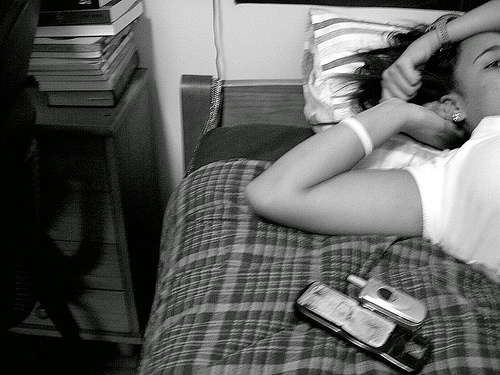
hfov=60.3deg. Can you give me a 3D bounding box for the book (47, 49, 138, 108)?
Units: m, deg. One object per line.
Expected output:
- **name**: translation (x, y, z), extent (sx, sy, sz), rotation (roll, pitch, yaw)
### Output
- **book**: translation (-0.466, -0.375, 1.473), extent (0.254, 0.082, 0.371), rotation (14, 24, 14)

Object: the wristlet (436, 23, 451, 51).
- **wristlet**: translation (0.550, -0.432, 1.240), extent (0.039, 0.063, 0.045), rotation (-9, 33, -14)

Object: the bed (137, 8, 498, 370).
- **bed**: translation (0.143, -0.053, 1.339), extent (0.714, 0.650, 1.127), rotation (2, 64, 4)

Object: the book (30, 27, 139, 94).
- **book**: translation (-0.498, -0.440, 1.321), extent (0.255, 0.056, 0.243), rotation (-12, 29, 14)

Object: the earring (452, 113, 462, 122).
- **earring**: translation (0.544, -0.187, 1.142), extent (0.015, 0.004, 0.026), rotation (28, 35, 9)

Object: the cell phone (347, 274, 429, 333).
- **cell phone**: translation (0.258, 0.220, 0.832), extent (0.140, 0.034, 0.068), rotation (25, 52, 26)

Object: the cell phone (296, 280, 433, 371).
- **cell phone**: translation (0.204, 0.255, 0.814), extent (0.270, 0.036, 0.095), rotation (25, 62, 17)

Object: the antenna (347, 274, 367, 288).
- **antenna**: translation (0.218, 0.191, 0.883), extent (0.038, 0.016, 0.021), rotation (26, 30, 31)

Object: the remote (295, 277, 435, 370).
- **remote**: translation (0.198, 0.276, 0.857), extent (0.286, 0.054, 0.098), rotation (26, 67, 17)

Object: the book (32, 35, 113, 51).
- **book**: translation (-0.494, -0.411, 1.218), extent (0.215, 0.046, 0.076), rotation (-14, 34, -23)
